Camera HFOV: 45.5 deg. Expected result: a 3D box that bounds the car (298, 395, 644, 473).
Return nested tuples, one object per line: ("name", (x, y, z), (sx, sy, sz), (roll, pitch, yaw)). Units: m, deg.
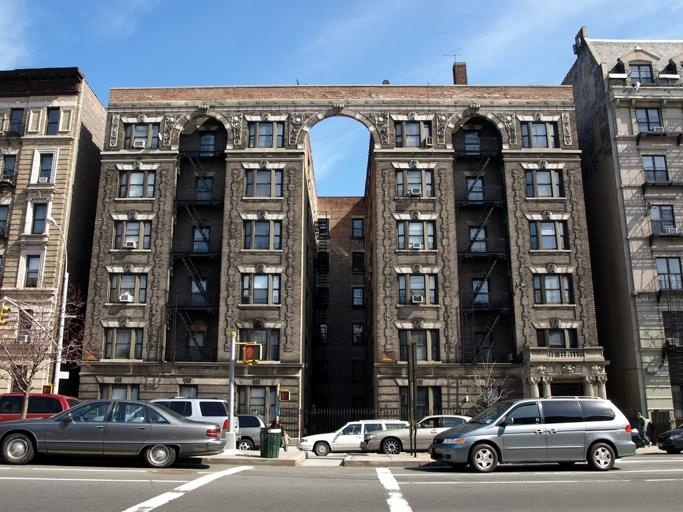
("car", (7.362, 6.947, 32.177), (7.257, 2.433, 3.161), (1, -21, 1))
